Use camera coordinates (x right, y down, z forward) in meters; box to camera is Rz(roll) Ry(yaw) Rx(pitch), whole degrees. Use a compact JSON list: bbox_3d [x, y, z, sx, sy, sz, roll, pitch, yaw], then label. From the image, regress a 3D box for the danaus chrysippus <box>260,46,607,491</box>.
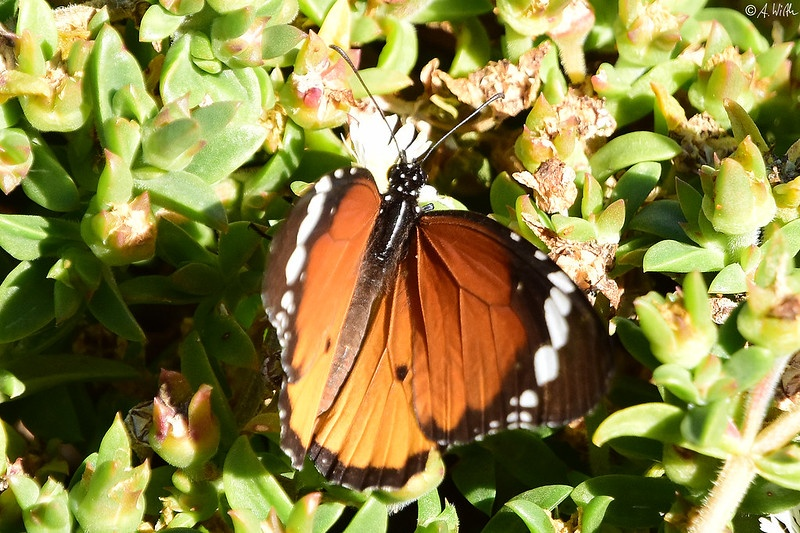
[{"bbox_3d":[-0.006,0.030,1.196,0.574,0.233,0.453,51,38,-6],"label":"danaus chrysippus"}]
